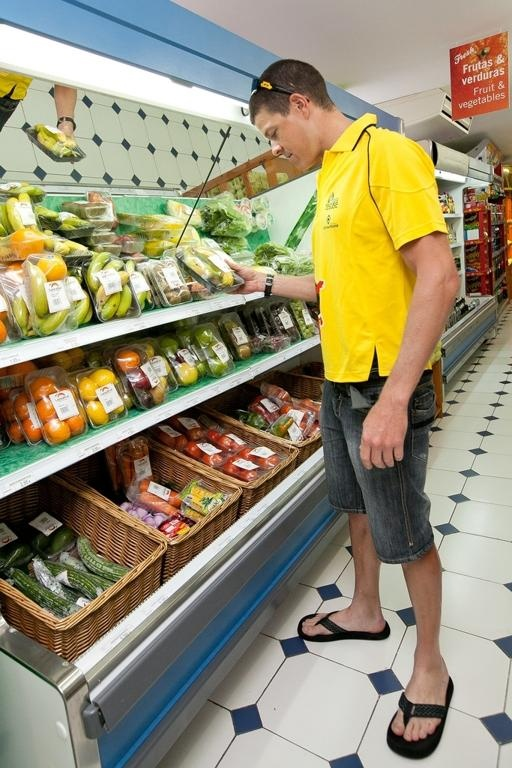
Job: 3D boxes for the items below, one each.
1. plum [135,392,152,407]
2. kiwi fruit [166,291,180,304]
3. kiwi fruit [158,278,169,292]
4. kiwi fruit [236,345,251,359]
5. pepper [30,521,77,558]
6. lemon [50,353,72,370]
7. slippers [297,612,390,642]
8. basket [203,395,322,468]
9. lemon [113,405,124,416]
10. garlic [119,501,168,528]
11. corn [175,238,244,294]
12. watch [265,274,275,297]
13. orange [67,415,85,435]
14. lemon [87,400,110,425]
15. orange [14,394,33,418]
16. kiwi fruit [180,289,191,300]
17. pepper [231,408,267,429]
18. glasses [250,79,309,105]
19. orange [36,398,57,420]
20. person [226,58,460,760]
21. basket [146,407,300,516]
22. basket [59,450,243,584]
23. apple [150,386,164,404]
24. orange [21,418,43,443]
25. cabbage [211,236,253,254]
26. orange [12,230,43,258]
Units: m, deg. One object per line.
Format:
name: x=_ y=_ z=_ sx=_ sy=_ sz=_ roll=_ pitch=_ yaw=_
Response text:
plum: x=-0.385 y=0.054 z=1.654 sx=0.047 sy=0.054 sz=0.022 roll=-3 pitch=-19 yaw=-16
kiwi fruit: x=-0.295 y=-0.307 z=1.719 sx=0.039 sy=0.050 sz=0.070 roll=-2 pitch=11 yaw=16
kiwi fruit: x=-0.330 y=-0.349 z=1.709 sx=0.025 sy=0.033 sz=0.033 roll=-8 pitch=-11 yaw=-16
kiwi fruit: x=-0.052 y=-0.155 z=2.302 sx=0.055 sy=0.073 sz=0.073 roll=3 pitch=14 yaw=13
pepper: x=-0.681 y=0.515 z=1.605 sx=0.078 sy=0.038 sz=0.107 roll=18 pitch=8 yaw=18
lemon: x=-0.684 y=-0.085 z=1.687 sx=0.060 sy=0.056 sz=0.057 roll=-5 pitch=-4 yaw=-27
slippers: x=0.323 y=0.870 z=1.793 sx=0.237 sy=0.053 sz=0.133 roll=1 pitch=5 yaw=11
basket: x=-0.007 y=0.180 z=2.444 sx=0.573 sy=0.307 sz=0.550 roll=10 pitch=19 yaw=33
lemon: x=-0.444 y=0.083 z=1.557 sx=0.024 sy=0.024 sz=0.032 roll=-1 pitch=19 yaw=-4
garlic: x=-0.402 y=0.433 z=1.716 sx=0.126 sy=0.038 sz=0.106 roll=27 pitch=-1 yaw=16
corn: x=-0.204 y=-0.461 z=1.872 sx=0.202 sy=0.205 sz=0.235 roll=-12 pitch=19 yaw=-40
watch: x=0.053 y=-0.391 z=1.917 sx=0.033 sy=0.083 sz=0.078 roll=3 pitch=2 yaw=6
orange: x=-0.530 y=0.118 z=1.407 sx=0.033 sy=0.039 sz=0.034 roll=34 pitch=55 yaw=30
lemon: x=-0.495 y=0.091 z=1.491 sx=0.040 sy=0.069 sz=0.058 roll=-43 pitch=48 yaw=-12
orange: x=-0.699 y=0.058 z=1.443 sx=0.057 sy=0.072 sz=0.041 roll=3 pitch=-28 yaw=-27
kiwi fruit: x=-0.257 y=-0.325 z=1.758 sx=0.041 sy=0.040 sz=0.030 roll=-2 pitch=5 yaw=-14
pepper: x=-0.034 y=0.169 z=2.510 sx=0.071 sy=0.076 sz=0.155 roll=-26 pitch=26 yaw=-28
glasses: x=0.069 y=-0.775 z=1.282 sx=0.101 sy=0.029 sz=0.084 roll=13 pitch=28 yaw=7
orange: x=-0.608 y=0.073 z=1.391 sx=0.060 sy=0.051 sz=0.058 roll=-21 pitch=-5 yaw=-35
person: x=0.172 y=0.131 z=1.496 sx=0.701 sy=2.023 sz=0.695 roll=3 pitch=16 yaw=5
basket: x=-0.146 y=0.270 z=2.120 sx=0.554 sy=0.152 sz=0.354 roll=28 pitch=31 yaw=30
basket: x=-0.383 y=0.424 z=1.860 sx=0.572 sy=0.189 sz=0.377 roll=22 pitch=24 yaw=30
apple: x=-0.345 y=0.038 z=1.693 sx=0.048 sy=0.051 sz=0.054 roll=-5 pitch=-4 yaw=-4
orange: x=-0.645 y=0.134 z=1.383 sx=0.063 sy=0.056 sz=0.063 roll=12 pitch=21 yaw=28
cabbage: x=-0.108 y=-0.721 z=2.510 sx=0.130 sy=0.043 sz=0.148 roll=40 pitch=42 yaw=26
orange: x=-0.651 y=-0.393 z=1.363 sx=0.074 sy=0.060 sz=0.064 roll=1 pitch=49 yaw=-47
